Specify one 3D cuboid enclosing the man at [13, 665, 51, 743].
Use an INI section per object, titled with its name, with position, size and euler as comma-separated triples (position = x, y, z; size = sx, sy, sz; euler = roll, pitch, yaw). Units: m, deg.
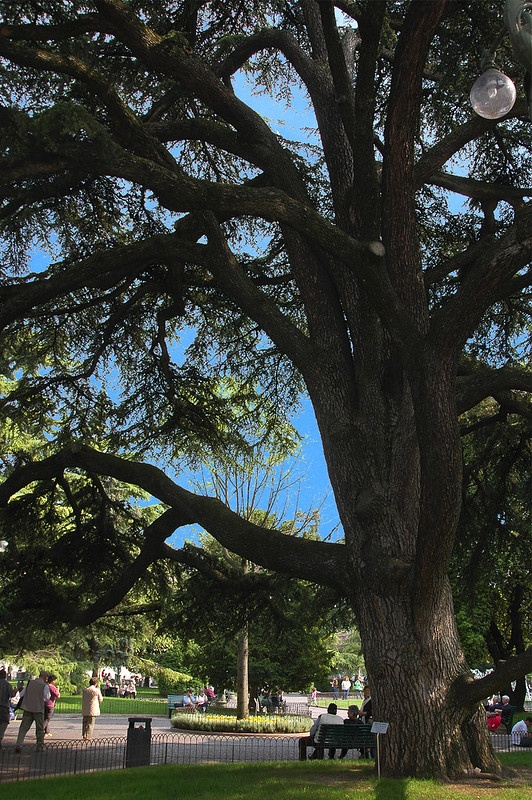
[man]
position = -3.771, 5.023, 13.186
size = 0.375, 1.227, 0.378
euler = 5, -28, -4
